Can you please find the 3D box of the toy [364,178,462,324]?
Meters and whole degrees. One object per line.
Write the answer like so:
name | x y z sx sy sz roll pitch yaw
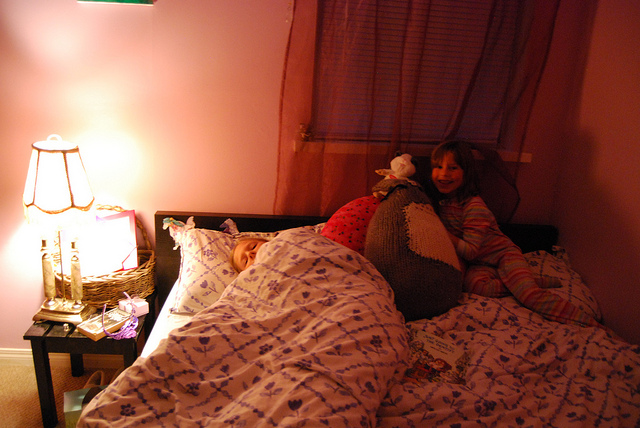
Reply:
toy | 0.491 0.135 2.518 0.463 0.703 0.327 16 -35 -33

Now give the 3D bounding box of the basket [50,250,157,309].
basket | -1.294 0.286 2.909 0.630 0.314 0.453 -3 17 -17

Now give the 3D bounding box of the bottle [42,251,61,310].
bottle | -1.525 0.348 2.663 0.088 0.307 0.249 -10 23 -30
